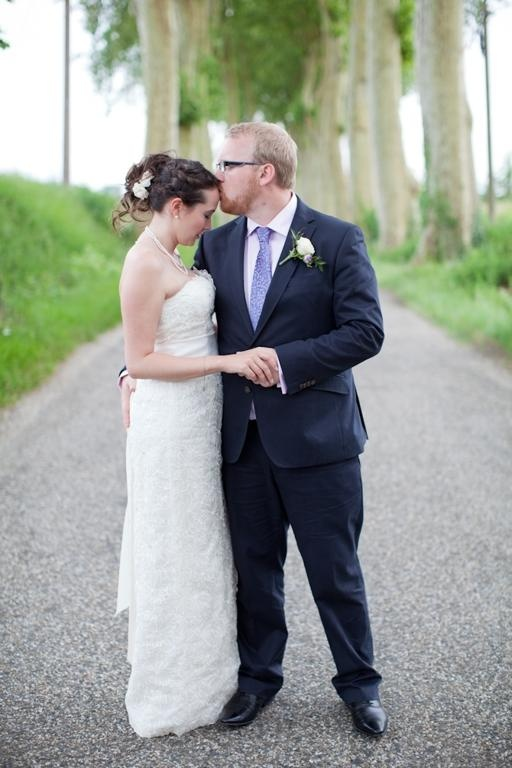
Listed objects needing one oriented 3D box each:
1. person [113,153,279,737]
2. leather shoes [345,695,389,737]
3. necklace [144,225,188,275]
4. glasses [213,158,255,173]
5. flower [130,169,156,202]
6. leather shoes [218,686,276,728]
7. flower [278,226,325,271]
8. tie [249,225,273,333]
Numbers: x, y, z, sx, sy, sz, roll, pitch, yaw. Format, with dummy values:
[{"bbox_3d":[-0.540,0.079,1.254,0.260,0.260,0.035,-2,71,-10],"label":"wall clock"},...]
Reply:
[{"bbox_3d":[-0.251,0.195,2.662,0.502,1.896,0.623,-3,15,-11],"label":"person"},{"bbox_3d":[0.365,1.110,2.604,0.158,0.076,0.135,6,15,23],"label":"leather shoes"},{"bbox_3d":[-0.303,-0.448,2.627,0.151,0.155,0.110,-4,15,-17],"label":"necklace"},{"bbox_3d":[-0.071,-0.728,2.612,0.164,0.042,0.038,11,18,36],"label":"glasses"},{"bbox_3d":[-0.385,-0.657,2.581,0.061,0.088,0.024,13,4,21],"label":"flower"},{"bbox_3d":[-0.031,1.122,2.717,0.073,0.076,0.206,2,5,39],"label":"leather shoes"},{"bbox_3d":[0.157,-0.440,2.588,0.123,0.116,0.089,14,20,42],"label":"flower"},{"bbox_3d":[0.020,-0.370,2.663,0.060,0.394,0.043,-4,-11,17],"label":"tie"}]
